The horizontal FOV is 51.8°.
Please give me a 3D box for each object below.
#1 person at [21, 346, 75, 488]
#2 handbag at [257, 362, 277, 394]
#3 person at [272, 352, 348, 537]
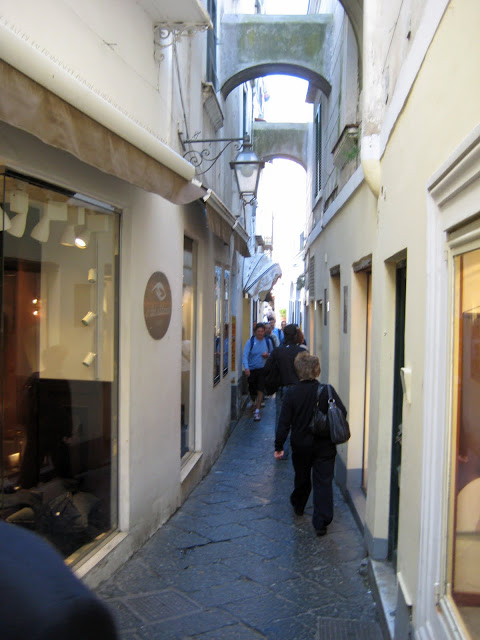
[{"bbox_3d":[-1.629,1.026,4.070,0.446,1.547,0.494,4,31,-16],"label":"person"},{"bbox_3d":[0.467,1.137,8.202,0.179,0.831,0.483,6,4,6],"label":"handbag"},{"bbox_3d":[0.754,1.232,5.071,0.420,1.778,0.848,3,-2,-39],"label":"person"}]
